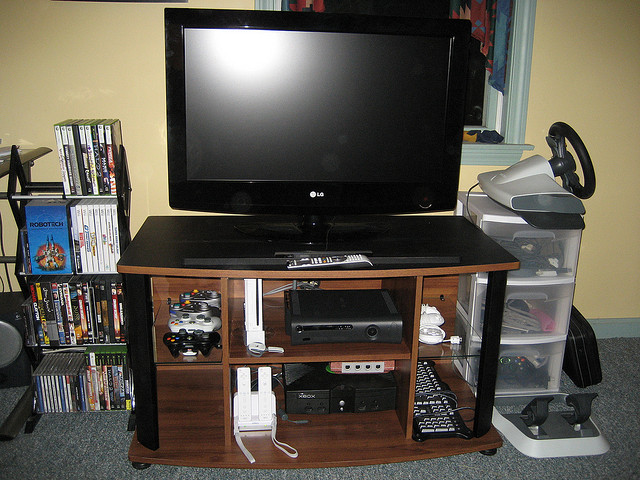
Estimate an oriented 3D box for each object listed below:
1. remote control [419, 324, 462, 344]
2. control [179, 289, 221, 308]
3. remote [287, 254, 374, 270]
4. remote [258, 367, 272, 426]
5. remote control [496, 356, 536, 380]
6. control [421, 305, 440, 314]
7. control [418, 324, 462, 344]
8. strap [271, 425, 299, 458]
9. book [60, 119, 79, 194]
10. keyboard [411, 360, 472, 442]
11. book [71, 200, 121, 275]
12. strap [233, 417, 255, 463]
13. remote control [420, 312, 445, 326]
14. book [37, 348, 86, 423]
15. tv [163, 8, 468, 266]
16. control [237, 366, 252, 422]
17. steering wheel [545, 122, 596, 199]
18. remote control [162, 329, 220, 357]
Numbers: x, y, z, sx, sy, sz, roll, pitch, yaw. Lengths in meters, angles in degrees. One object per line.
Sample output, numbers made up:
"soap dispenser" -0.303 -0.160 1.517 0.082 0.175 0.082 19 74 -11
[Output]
"remote control" 0.530 0.416 2.346 0.143 0.050 0.101 10 17 13
"control" -0.518 0.250 2.380 0.107 0.041 0.106 3 8 4
"remote" 0.047 0.092 2.042 0.337 0.046 0.061 -5 15 -9
"remote" -0.233 0.672 2.247 0.067 0.277 0.024 -5 15 -8
"remote control" 0.948 0.614 2.544 0.171 0.041 0.168 -5 -31 12
"control" 0.513 0.326 2.454 0.082 0.030 0.091 0 5 6
"control" 0.533 0.407 2.319 0.151 0.038 0.112 14 19 31
"strap" -0.145 0.850 2.220 0.171 0.009 0.051 22 22 36
"book" -1.057 -0.338 2.231 0.031 0.291 0.040 -9 16 -23
"keyboard" 0.542 0.732 2.443 0.265 0.185 0.433 -1 15 5
"book" -0.965 0.000 2.296 0.205 0.304 0.058 0 15 9
"strap" -0.318 0.849 2.230 0.056 0.166 0.019 -37 -23 15
"remote control" 0.510 0.362 2.408 0.113 0.054 0.142 2 3 12
"book" -1.177 0.653 2.412 0.208 0.284 0.293 -1 13 -12
"tv" -0.022 -0.441 2.196 1.081 0.817 0.393 0 18 -4
"control" -0.314 0.664 2.250 0.055 0.233 0.035 -1 2 7
"steering wheel" 1.095 -0.347 2.313 0.180 0.328 0.180 -2 15 1
"remote control" -0.532 0.420 2.177 0.155 0.058 0.117 0 25 -5
